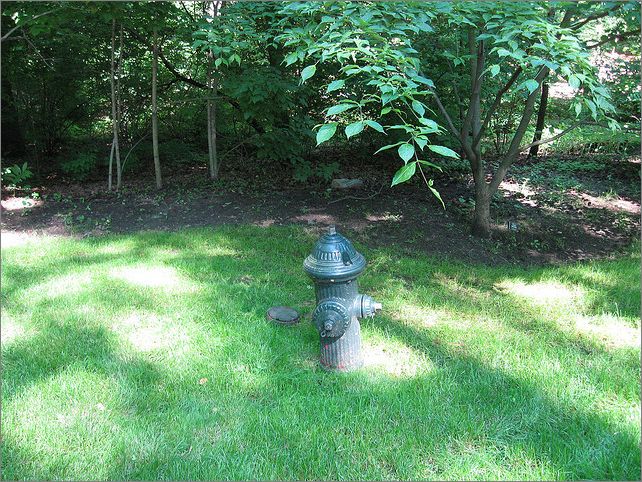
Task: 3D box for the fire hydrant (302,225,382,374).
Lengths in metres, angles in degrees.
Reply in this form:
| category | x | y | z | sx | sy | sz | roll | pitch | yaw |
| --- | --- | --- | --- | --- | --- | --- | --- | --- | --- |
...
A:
| category | x | y | z | sx | sy | sz | roll | pitch | yaw |
| --- | --- | --- | --- | --- | --- | --- | --- | --- | --- |
| fire hydrant | 0.197 | 0.563 | 5.373 | 0.738 | 1.422 | 0.458 | 0 | 16 | -3 |
